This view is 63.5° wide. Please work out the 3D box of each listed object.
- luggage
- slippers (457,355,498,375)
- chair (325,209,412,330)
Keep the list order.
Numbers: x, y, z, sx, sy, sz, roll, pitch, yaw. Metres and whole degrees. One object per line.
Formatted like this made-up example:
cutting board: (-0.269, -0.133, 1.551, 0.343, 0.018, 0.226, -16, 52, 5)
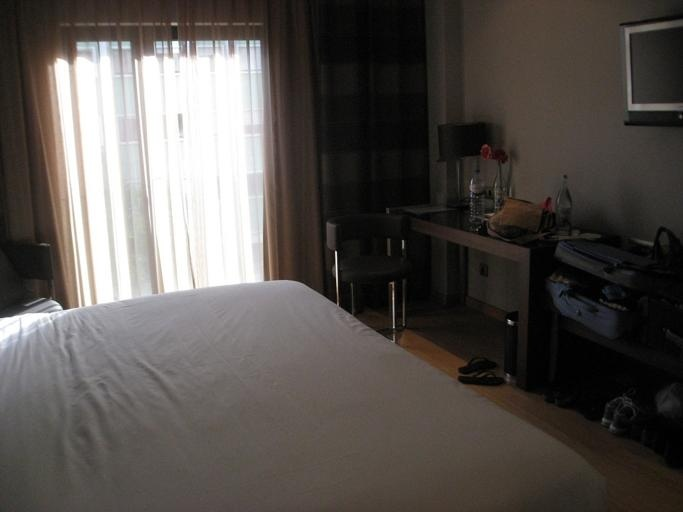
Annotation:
luggage: (1.487, 0.190, 3.210, 0.310, 0.451, 0.527, -12, 21, -19)
slippers: (0.925, 0.749, 3.769, 0.228, 0.066, 0.116, -2, 21, -6)
chair: (0.201, 0.077, 4.370, 0.693, 1.080, 0.679, -9, 15, -28)
